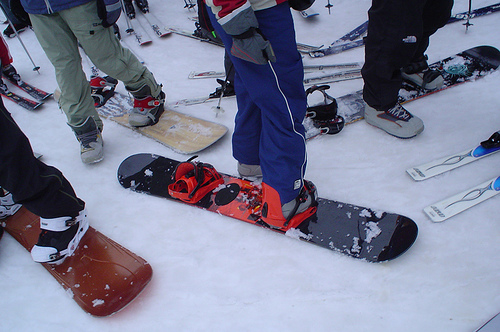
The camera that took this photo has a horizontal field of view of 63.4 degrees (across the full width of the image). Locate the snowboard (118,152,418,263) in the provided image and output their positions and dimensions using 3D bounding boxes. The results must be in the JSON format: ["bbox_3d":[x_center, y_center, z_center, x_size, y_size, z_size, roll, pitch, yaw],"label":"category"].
[{"bbox_3d":[0.249,0.435,3.879,2.353,0.185,0.521,15,51,20],"label":"snowboard"}]

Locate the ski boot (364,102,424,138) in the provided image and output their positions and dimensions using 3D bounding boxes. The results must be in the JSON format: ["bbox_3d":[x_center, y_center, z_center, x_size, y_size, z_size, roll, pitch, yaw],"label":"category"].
[{"bbox_3d":[1.533,-0.475,4.454,0.636,0.284,0.256,25,82,25],"label":"ski boot"}]

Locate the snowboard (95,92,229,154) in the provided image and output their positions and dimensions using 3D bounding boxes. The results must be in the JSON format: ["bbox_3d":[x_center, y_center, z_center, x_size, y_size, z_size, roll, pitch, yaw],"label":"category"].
[{"bbox_3d":[-1.094,-0.514,4.943,1.730,0.198,0.554,19,53,31],"label":"snowboard"}]

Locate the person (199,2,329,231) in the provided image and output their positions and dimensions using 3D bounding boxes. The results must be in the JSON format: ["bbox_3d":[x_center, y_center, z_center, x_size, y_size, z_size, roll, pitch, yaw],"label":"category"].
[{"bbox_3d":[0.150,-0.423,3.526,0.835,1.880,1.058,-18,43,-2],"label":"person"}]

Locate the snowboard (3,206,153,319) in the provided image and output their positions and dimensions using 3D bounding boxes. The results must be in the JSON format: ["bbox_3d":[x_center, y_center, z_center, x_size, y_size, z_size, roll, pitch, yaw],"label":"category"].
[{"bbox_3d":[-1.812,0.821,4.199,1.972,0.344,0.639,33,70,24],"label":"snowboard"}]

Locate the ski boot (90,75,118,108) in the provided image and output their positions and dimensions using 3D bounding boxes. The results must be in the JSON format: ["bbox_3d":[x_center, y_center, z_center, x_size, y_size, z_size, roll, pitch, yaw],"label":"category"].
[{"bbox_3d":[-1.922,-0.948,5.289,0.211,0.271,0.626,5,41,7],"label":"ski boot"}]

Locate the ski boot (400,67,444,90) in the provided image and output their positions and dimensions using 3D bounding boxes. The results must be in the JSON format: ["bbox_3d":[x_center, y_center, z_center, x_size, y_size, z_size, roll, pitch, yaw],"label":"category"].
[{"bbox_3d":[2.061,-1.053,4.799,0.201,0.245,0.562,-13,25,-18],"label":"ski boot"}]

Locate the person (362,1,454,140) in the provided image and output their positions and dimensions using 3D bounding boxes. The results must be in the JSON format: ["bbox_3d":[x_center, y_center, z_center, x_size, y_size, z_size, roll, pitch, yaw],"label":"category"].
[{"bbox_3d":[1.682,-0.965,4.339,0.511,1.561,0.671,14,82,20],"label":"person"}]

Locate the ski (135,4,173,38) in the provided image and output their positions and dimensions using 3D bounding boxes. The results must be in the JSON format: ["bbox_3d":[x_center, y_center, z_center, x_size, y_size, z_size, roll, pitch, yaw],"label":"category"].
[{"bbox_3d":[-1.595,-2.380,6.665,0.201,0.099,1.363,-33,48,-8],"label":"ski"}]

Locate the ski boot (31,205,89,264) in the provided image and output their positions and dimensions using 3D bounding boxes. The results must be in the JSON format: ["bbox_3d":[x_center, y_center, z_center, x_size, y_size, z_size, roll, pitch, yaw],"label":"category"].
[{"bbox_3d":[-1.750,0.672,3.851,0.302,0.329,0.572,28,75,14],"label":"ski boot"}]

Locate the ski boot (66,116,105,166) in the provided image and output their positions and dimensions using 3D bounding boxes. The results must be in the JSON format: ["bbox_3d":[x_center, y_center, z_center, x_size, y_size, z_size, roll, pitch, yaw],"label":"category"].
[{"bbox_3d":[-1.892,-0.265,4.657,0.179,0.328,0.478,-24,72,-1],"label":"ski boot"}]

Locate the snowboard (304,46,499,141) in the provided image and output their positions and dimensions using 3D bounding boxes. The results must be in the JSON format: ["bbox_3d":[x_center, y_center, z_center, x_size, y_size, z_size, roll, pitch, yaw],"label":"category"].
[{"bbox_3d":[1.777,-0.769,4.547,2.317,0.257,0.444,-25,65,4],"label":"snowboard"}]
